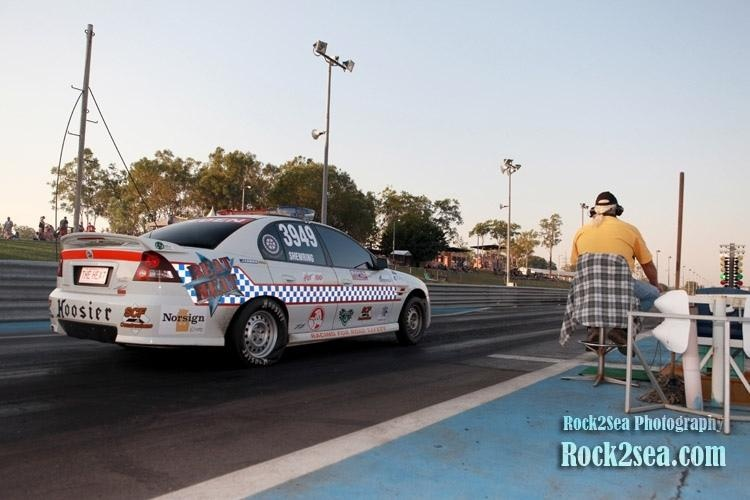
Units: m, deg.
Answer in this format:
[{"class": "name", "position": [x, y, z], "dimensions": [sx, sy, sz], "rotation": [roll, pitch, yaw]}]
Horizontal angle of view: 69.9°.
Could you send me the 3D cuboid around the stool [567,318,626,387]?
[{"class": "stool", "position": [2.644, 1.179, 6.338], "dimensions": [0.744, 0.729, 0.666], "rotation": [5, -5, -39]}]
